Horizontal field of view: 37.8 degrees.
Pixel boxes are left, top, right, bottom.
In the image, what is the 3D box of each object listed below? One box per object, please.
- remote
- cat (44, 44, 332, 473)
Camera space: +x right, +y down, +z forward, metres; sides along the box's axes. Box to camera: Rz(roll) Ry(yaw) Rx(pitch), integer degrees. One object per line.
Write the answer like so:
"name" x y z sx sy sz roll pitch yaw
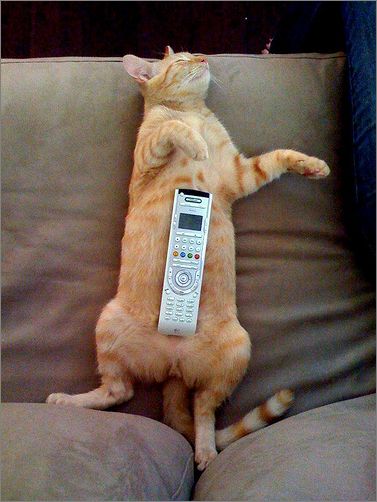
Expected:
"remote" -0.011 0.024 1.202 0.105 0.058 0.314 9 88 -9
"cat" -0.011 -0.019 1.269 0.767 0.250 0.851 4 83 -20
